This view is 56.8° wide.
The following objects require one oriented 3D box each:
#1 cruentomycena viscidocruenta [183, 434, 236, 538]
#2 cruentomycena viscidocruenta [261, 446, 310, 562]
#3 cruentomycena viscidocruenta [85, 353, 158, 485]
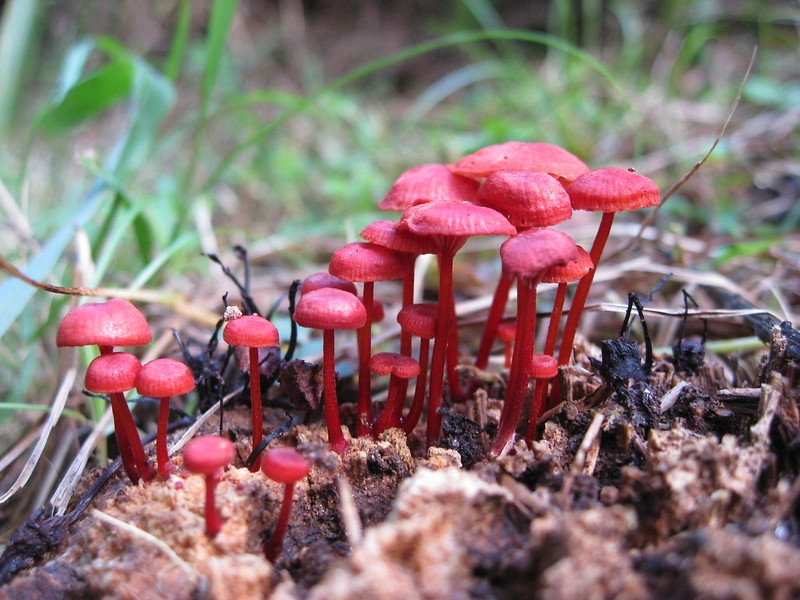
[{"bbox_3d":[-0.940,0.935,3.647,0.217,0.462,0.211,34,39,30],"label":"cruentomycena viscidocruenta"},{"bbox_3d":[-0.573,1.039,3.722,0.183,0.575,0.209,9,37,-10],"label":"cruentomycena viscidocruenta"},{"bbox_3d":[-1.567,0.677,4.140,0.242,0.753,0.272,-9,39,-14],"label":"cruentomycena viscidocruenta"}]
